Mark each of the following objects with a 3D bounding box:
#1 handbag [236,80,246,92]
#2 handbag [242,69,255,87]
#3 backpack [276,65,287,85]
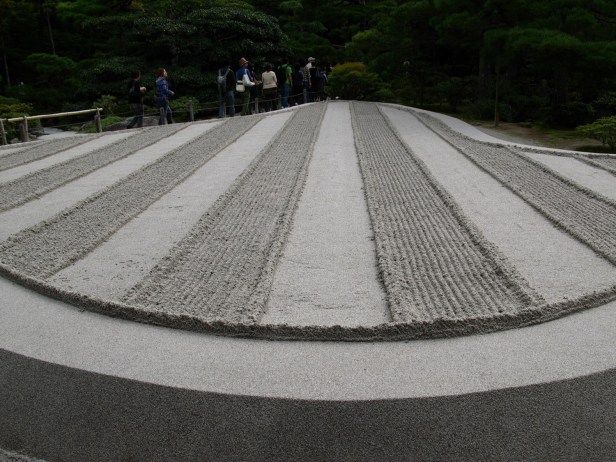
[{"bbox_3d":[-1.623,-3.467,9.730,0.203,0.231,0.379,-3,19,-9],"label":"handbag"},{"bbox_3d":[-1.441,-3.680,9.731,0.253,0.361,0.422,-3,19,-7],"label":"handbag"},{"bbox_3d":[-0.762,-4.445,11.562,0.148,0.567,0.770,-5,19,-12],"label":"backpack"}]
